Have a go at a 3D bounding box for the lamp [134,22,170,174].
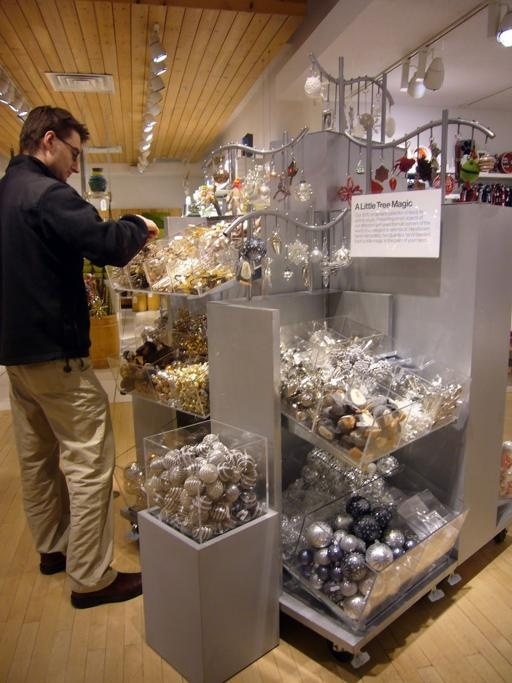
[{"bbox_3d":[-1.372,-3.120,6.206,0.216,2.191,0.401,9,34,-11],"label":"lamp"}]
